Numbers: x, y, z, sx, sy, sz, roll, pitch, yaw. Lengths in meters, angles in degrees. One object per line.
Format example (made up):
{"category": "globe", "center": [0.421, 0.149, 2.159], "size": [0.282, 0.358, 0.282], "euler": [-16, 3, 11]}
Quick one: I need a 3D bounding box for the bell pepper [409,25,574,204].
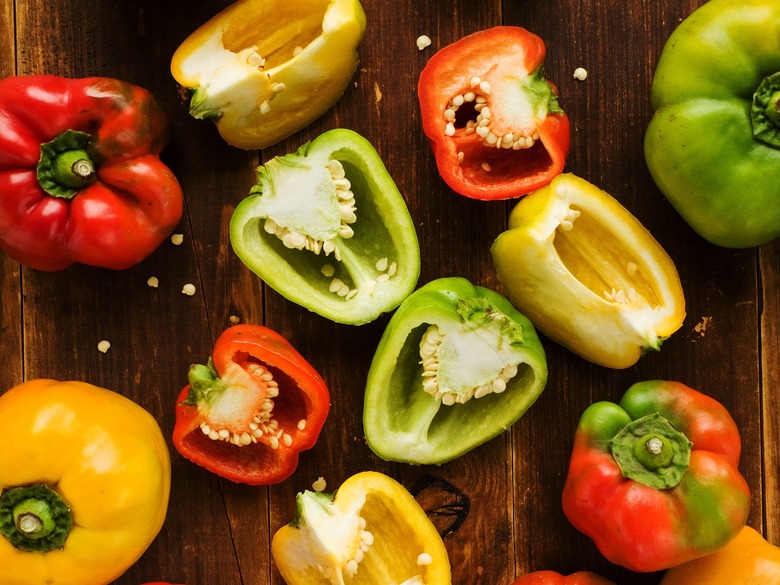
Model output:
{"category": "bell pepper", "center": [0.239, -0.387, 2.303], "size": [0.333, 0.146, 0.377], "euler": [-25, 84, -1]}

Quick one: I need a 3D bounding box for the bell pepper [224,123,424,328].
{"category": "bell pepper", "center": [-0.145, -0.114, 2.267], "size": [0.385, 0.136, 0.405], "euler": [-25, 84, -1]}

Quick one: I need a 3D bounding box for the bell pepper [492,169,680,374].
{"category": "bell pepper", "center": [0.428, -0.051, 2.393], "size": [0.464, 0.157, 0.350], "euler": [45, 89, -1]}

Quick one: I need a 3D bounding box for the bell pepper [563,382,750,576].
{"category": "bell pepper", "center": [0.604, 0.458, 2.334], "size": [0.399, 0.327, 0.512], "euler": [-1, 43, 21]}

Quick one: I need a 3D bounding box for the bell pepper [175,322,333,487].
{"category": "bell pepper", "center": [-0.309, 0.278, 2.300], "size": [0.312, 0.147, 0.395], "euler": [17, 97, -9]}
